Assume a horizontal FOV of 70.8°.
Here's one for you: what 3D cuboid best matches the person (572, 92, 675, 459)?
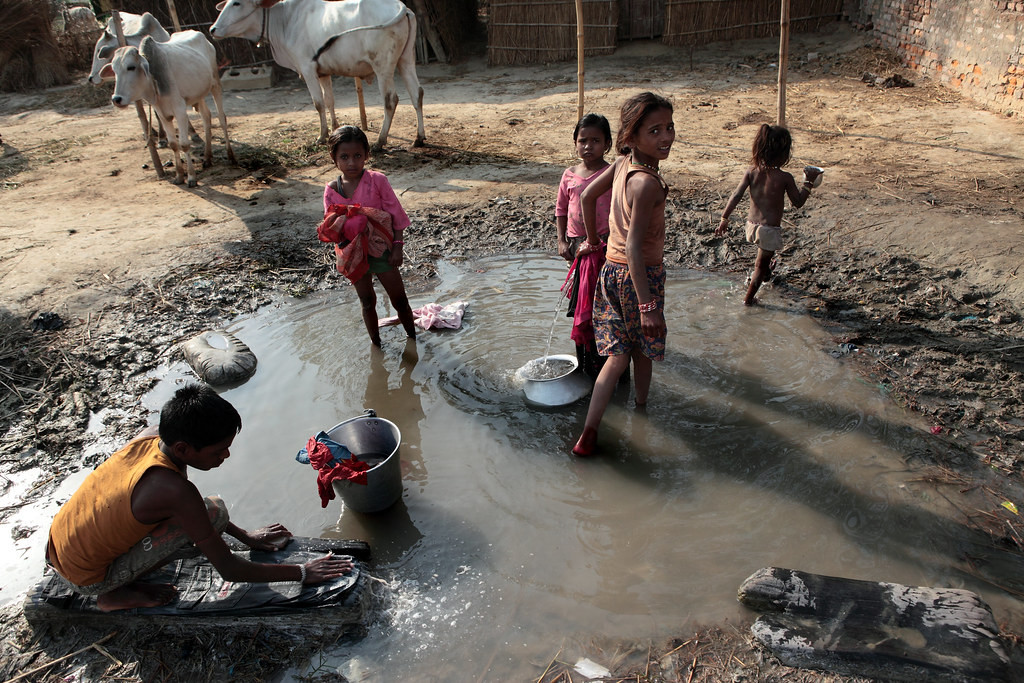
[{"bbox_3d":[0.792,-0.442,5.104,0.659,2.460,1.000,2,29,9],"label":"person"}]

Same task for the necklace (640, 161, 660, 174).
[{"bbox_3d":[0.931,-1.150,4.840,0.121,0.042,0.092,18,36,-14],"label":"necklace"}]

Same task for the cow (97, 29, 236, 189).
[{"bbox_3d":[-4.674,-3.320,10.077,0.967,1.816,2.008,-5,28,-5],"label":"cow"}]

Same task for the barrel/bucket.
[{"bbox_3d":[-1.039,0.868,5.187,0.647,0.493,0.664,-10,35,7],"label":"barrel/bucket"}]

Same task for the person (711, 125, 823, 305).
[{"bbox_3d":[2.401,-1.277,6.773,0.796,1.601,1.126,8,30,19],"label":"person"}]

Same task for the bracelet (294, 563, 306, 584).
[{"bbox_3d":[-1.280,1.412,4.359,0.064,0.085,0.033,-1,-7,44],"label":"bracelet"}]

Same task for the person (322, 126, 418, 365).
[{"bbox_3d":[-1.237,-0.841,6.164,0.710,1.981,0.651,-2,29,2],"label":"person"}]

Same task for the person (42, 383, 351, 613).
[{"bbox_3d":[-1.755,0.923,4.446,1.728,1.214,1.128,-6,31,-38],"label":"person"}]
